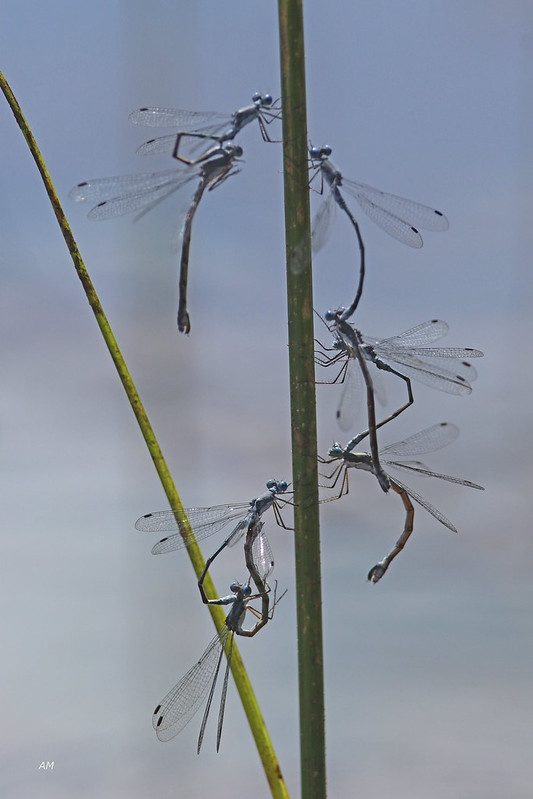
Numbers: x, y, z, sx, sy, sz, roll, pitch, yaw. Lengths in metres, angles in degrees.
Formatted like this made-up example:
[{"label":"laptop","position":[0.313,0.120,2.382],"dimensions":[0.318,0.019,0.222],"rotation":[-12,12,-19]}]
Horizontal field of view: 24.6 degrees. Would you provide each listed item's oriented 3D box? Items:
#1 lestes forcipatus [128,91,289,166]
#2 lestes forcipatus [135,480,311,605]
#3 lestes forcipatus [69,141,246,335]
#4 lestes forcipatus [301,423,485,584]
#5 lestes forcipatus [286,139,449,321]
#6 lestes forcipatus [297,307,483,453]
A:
[{"label":"lestes forcipatus","position":[-0.118,-0.649,2.797],"dimensions":[0.352,0.144,0.117],"rotation":[-10,-76,4]},{"label":"lestes forcipatus","position":[-0.091,0.284,2.755],"dimensions":[0.318,0.316,0.116],"rotation":[14,-42,58]},{"label":"lestes forcipatus","position":[-0.253,-0.365,2.823],"dimensions":[0.226,0.392,0.484],"rotation":[-4,-24,-26]},{"label":"lestes forcipatus","position":[0.280,0.193,2.770],"dimensions":[0.454,0.180,0.322],"rotation":[5,-16,33]},{"label":"lestes forcipatus","position":[0.224,-0.338,2.702],"dimensions":[0.261,0.417,0.352],"rotation":[-23,-41,28]},{"label":"lestes forcipatus","position":[0.259,-0.092,2.851],"dimensions":[0.464,0.595,0.255],"rotation":[14,-73,5]}]
